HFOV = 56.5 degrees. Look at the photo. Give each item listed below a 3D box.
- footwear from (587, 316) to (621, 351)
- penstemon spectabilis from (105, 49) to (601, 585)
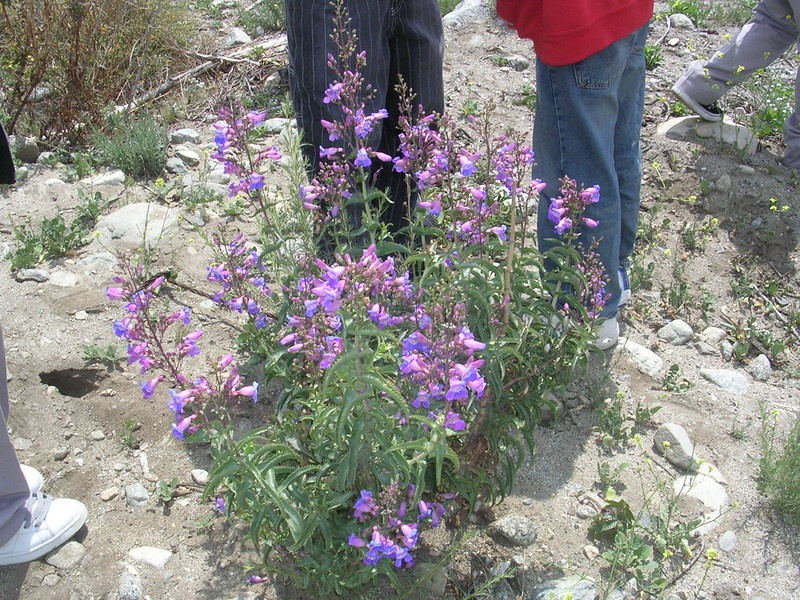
[{"bbox_3d":[1.391,0.222,5.047,0.174,0.234,0.511,-4,0,15],"label":"footwear"},{"bbox_3d":[-0.182,0.138,4.135,2.442,2.008,2.187,-18,50,-21],"label":"penstemon spectabilis"}]
